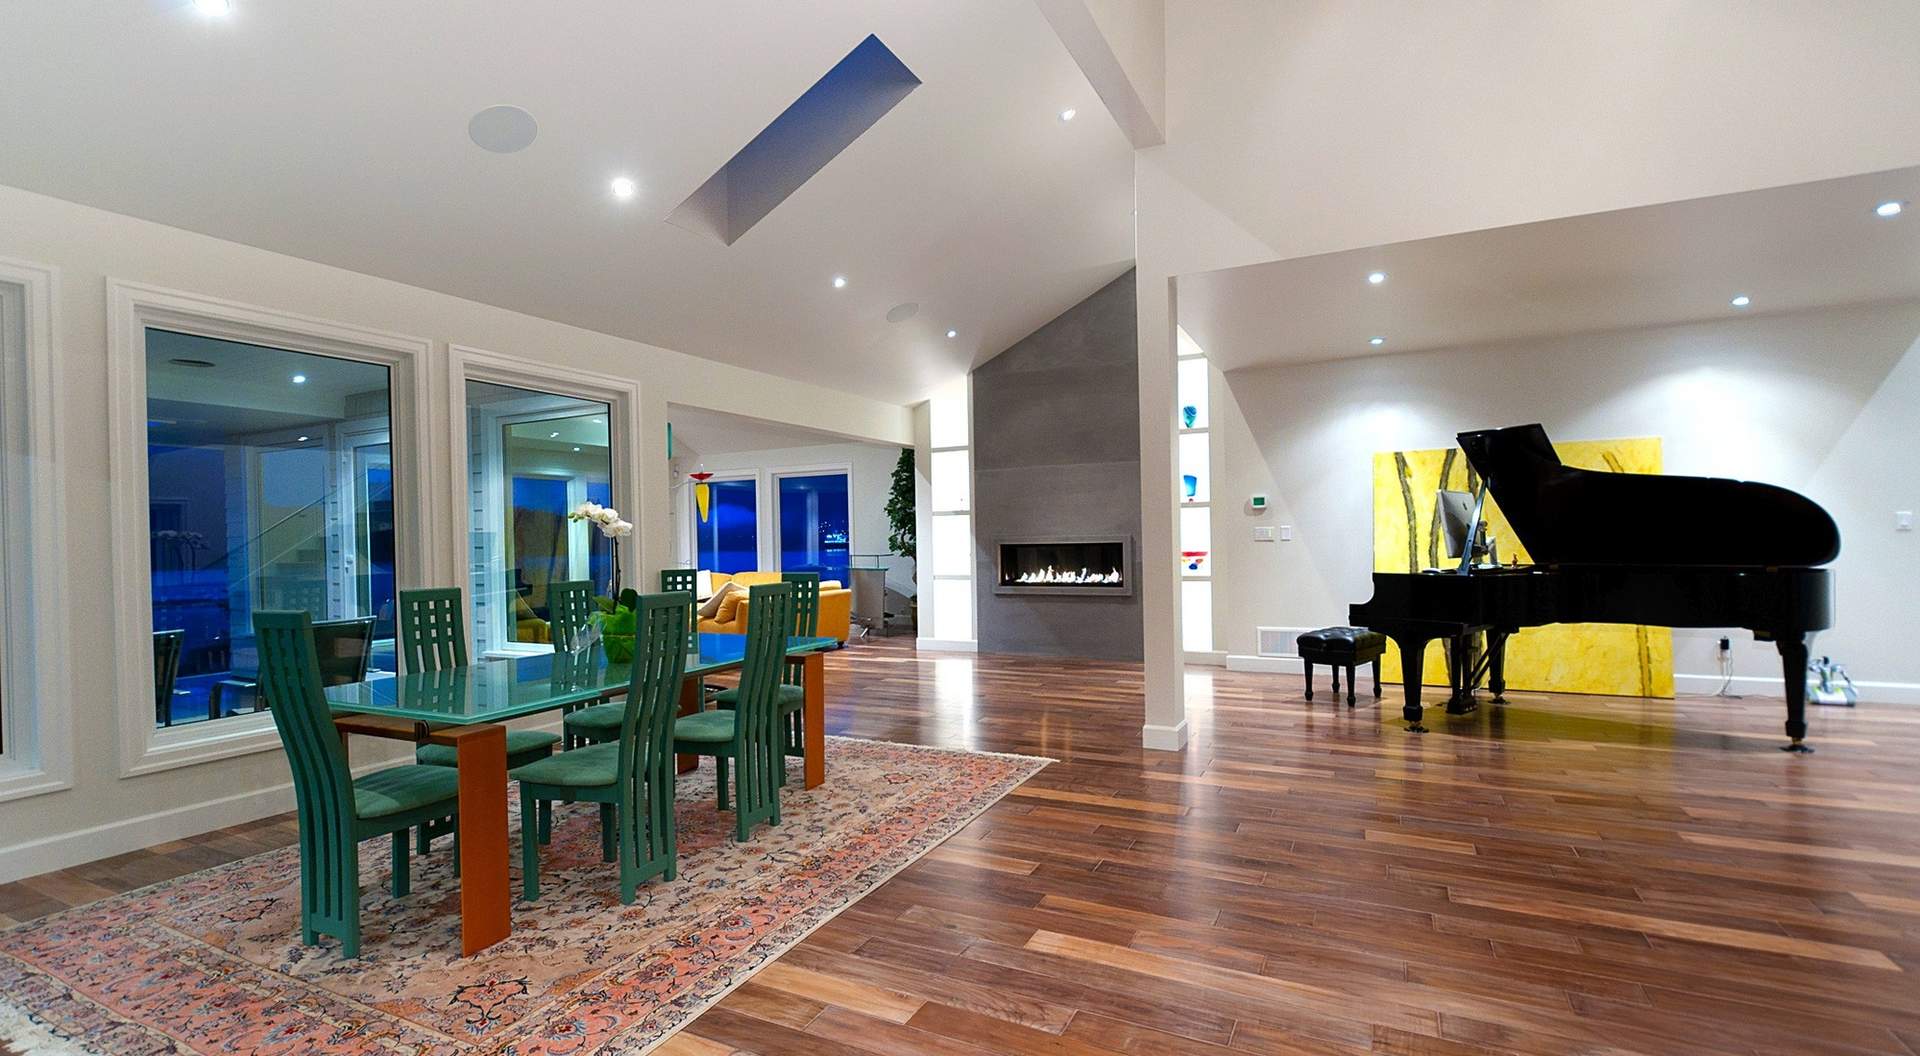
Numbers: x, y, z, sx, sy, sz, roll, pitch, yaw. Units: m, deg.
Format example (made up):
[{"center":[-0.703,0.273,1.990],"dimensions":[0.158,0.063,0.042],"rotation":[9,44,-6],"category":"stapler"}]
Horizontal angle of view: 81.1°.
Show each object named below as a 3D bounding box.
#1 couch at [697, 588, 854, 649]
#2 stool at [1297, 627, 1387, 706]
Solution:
[{"center":[-1.628,0.786,9.839],"dimensions":[0.980,0.378,0.540],"rotation":[-3,-11,19],"category":"couch"},{"center":[3.421,1.233,10.319],"dimensions":[0.695,0.666,0.868],"rotation":[4,4,41],"category":"stool"}]
